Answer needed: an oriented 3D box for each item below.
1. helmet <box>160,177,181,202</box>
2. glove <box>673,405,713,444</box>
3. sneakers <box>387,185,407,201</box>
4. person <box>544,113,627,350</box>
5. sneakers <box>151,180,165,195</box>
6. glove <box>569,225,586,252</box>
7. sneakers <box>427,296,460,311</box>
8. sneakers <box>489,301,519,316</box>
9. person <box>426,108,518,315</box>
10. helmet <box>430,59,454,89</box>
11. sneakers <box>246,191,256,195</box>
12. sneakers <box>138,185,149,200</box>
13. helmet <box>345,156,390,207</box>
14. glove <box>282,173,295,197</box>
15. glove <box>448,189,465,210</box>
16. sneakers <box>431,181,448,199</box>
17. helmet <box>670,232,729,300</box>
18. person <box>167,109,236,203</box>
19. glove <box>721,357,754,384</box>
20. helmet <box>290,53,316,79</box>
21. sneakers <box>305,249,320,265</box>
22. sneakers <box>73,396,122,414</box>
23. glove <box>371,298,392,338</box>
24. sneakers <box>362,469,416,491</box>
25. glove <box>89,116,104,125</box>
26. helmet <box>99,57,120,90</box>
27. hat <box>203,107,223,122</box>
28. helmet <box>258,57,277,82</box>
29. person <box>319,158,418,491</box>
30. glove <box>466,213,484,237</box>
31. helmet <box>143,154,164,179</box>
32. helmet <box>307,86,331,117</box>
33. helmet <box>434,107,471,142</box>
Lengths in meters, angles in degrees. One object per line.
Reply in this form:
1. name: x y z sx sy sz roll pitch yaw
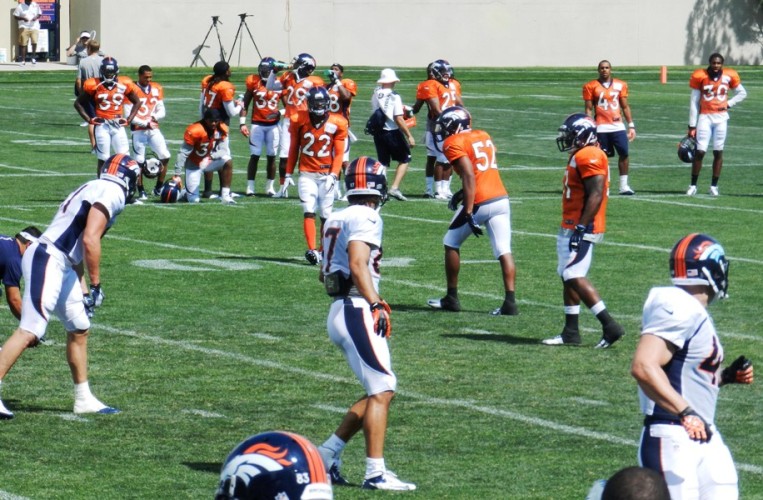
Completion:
1. helmet: -3.499 -1.006 22.032 0.319 0.381 0.374 11 2 -12
2. glove: 2.375 1.329 10.007 0.093 0.317 0.201 -40 12 34
3. sneakers: 0.285 -0.966 22.683 0.397 0.170 0.143 28 -6 -34
4. person: 2.273 -0.216 14.503 0.841 2.569 0.669 4 5 9
5. sneakers: -3.812 -1.076 22.733 0.174 0.192 0.451 8 6 -11
6. glove: 2.112 -0.131 14.307 0.169 0.288 0.179 3 5 8
7. sneakers: 0.733 0.639 15.720 0.419 0.166 0.152 5 7 34
8. sneakers: 1.421 0.705 15.519 0.383 0.159 0.125 4 6 28
9. person: 1.153 -0.484 15.791 1.061 2.452 1.006 3 5 2
10. helmet: 1.064 -3.099 22.836 0.459 0.409 0.352 -1 6 14
11. sneakers: -2.282 -1.006 23.233 0.100 0.046 0.126 -2 -4 9
12. sneakers: -4.058 -0.967 22.566 0.151 0.246 0.387 1 1 -24
13. helmet: -0.123 -0.650 11.943 0.345 0.351 0.453 0 1 7
14. glove: -1.638 -1.146 23.218 0.160 0.473 0.314 2 47 -7
15. glove: 0.903 -0.619 16.049 0.285 0.091 0.144 -35 -18 35
16. sneakers: 1.044 -1.038 23.024 0.400 0.260 0.164 3 11 14
17. helmet: 2.610 0.121 10.478 0.565 0.503 0.432 -9 12 -20
18. person: -2.906 -1.588 22.213 0.903 1.606 0.586 2 5 -9
19. glove: 2.819 0.991 10.575 0.270 0.117 0.204 -26 -13 38
20. helmet: -1.344 -3.061 21.710 0.451 0.405 0.345 12 12 7
21. sneakers: -0.903 0.092 17.669 0.121 0.125 0.253 41 -18 8
22. sneakers: -2.689 1.497 12.572 0.459 0.175 0.156 0 0 -5
23. glove: -0.032 0.603 11.263 0.102 0.292 0.189 -9 11 41
24. sneakers: 0.056 2.003 11.314 0.479 0.173 0.175 1 0 -5
25. glove: -4.711 -2.184 22.076 0.149 0.140 0.376 0 6 -25
26. helmet: -4.476 -3.052 22.307 0.399 0.436 0.521 1 21 -17
27. hat: -2.780 -2.286 21.985 0.289 0.211 0.264 7 25 -6
28. helmet: -2.074 -3.343 24.071 0.370 0.409 0.440 8 23 -13
29. person: -0.141 0.638 11.523 0.793 2.832 0.927 2 5 -3
30. glove: 1.096 -0.242 15.430 0.156 0.351 0.108 -8 40 24
31. helmet: -3.729 -1.381 21.705 0.322 0.352 0.341 -1 -9 -8
32. helmet: -0.829 -2.002 17.613 0.289 0.389 0.367 2 5 -4
33. helmet: 0.831 -1.536 16.003 0.534 0.474 0.421 7 10 25
